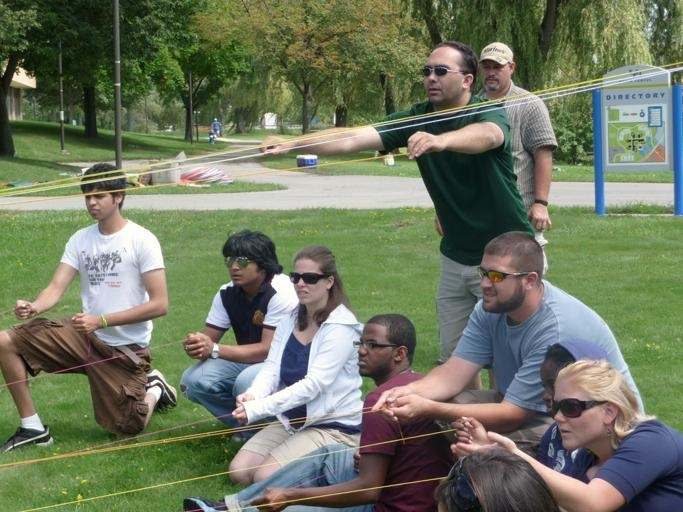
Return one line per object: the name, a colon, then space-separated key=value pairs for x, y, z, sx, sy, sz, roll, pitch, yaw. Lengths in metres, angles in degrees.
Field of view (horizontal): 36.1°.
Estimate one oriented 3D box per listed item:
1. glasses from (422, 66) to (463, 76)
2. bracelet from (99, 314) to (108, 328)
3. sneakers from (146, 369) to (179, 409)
glasses: x=0.914 y=-1.652 z=9.460 sx=0.356 sy=0.101 sz=0.099 roll=-1 pitch=7 yaw=4
bracelet: x=-2.351 y=0.646 z=10.419 sx=0.041 sy=0.101 sz=0.076 roll=-25 pitch=-2 yaw=-8
sneakers: x=-1.893 y=1.425 z=10.997 sx=0.224 sy=0.172 sz=0.511 roll=33 pitch=8 yaw=-35
